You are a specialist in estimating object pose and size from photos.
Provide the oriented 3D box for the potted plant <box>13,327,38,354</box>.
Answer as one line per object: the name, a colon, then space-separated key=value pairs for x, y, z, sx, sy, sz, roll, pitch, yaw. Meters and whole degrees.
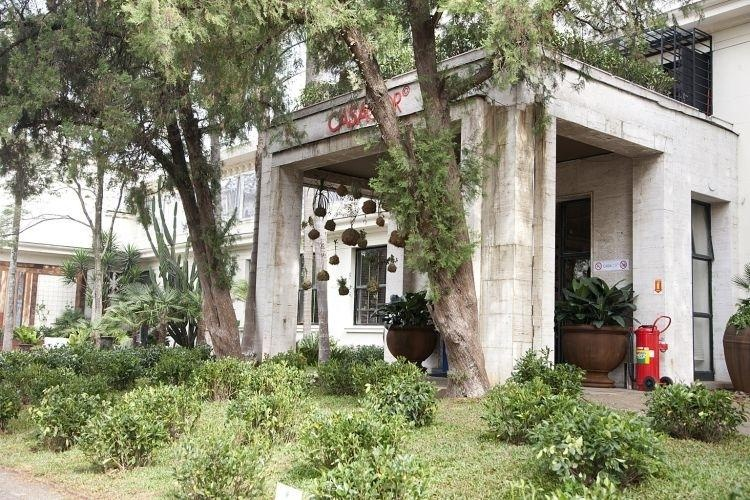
potted plant: x=-14.476 y=3.594 z=26.525 sx=0.912 sy=1.006 sz=3.252 roll=4 pitch=-10 yaw=-29

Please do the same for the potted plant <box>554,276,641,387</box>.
potted plant: x=4.646 y=1.685 z=13.292 sx=1.565 sy=2.257 sz=0.782 roll=-3 pitch=-8 yaw=17

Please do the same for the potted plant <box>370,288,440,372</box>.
potted plant: x=0.882 y=1.868 z=15.082 sx=1.480 sy=1.826 sz=1.479 roll=-3 pitch=-4 yaw=19
